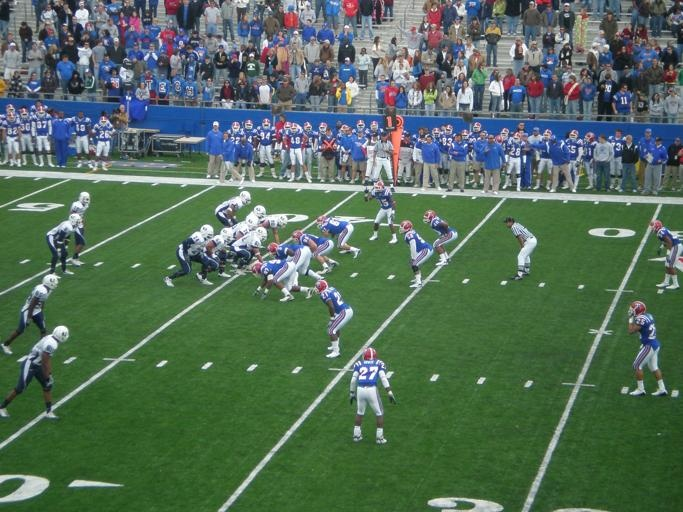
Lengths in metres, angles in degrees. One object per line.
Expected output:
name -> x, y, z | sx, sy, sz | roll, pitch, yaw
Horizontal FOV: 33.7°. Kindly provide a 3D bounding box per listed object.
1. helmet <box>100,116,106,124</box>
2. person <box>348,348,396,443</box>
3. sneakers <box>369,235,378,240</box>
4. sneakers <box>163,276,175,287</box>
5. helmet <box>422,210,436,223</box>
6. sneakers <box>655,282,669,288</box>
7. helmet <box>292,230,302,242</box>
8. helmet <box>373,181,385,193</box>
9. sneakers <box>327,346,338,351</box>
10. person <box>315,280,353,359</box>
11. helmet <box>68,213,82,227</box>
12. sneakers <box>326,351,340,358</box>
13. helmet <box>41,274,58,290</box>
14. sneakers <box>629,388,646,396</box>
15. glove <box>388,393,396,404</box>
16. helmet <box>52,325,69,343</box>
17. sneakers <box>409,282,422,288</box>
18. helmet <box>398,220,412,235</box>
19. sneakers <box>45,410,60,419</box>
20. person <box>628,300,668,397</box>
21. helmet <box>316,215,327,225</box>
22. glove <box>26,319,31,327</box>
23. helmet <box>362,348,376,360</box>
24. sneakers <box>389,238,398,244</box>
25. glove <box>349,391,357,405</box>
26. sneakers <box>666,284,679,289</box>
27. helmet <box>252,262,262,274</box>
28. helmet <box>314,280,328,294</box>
helmet -> -7.983, -4.548, 37.626 | 0.186, 0.238, 0.253 | -1, -2, -23
person -> 0.552, 2.497, 20.620 | 0.745, 1.681, 0.849 | -1, 12, -6
sneakers -> 0.904, -0.481, 30.825 | 0.235, 0.106, 0.084 | 0, 40, 3
sneakers -> -4.150, 0.612, 27.068 | 0.223, 0.240, 0.330 | -1, 12, -10
helmet -> 2.226, -0.936, 28.418 | 0.387, 0.394, 0.348 | 2, 15, 13
sneakers -> 7.768, 0.700, 27.084 | 0.291, 0.135, 0.111 | 2, 8, 9
helmet -> -1.071, -0.514, 26.947 | 0.190, 0.213, 0.224 | -32, 54, -33
helmet -> 1.048, -1.865, 30.257 | 0.288, 0.277, 0.239 | 5, -1, -11
sneakers -> -0.159, 1.941, 23.422 | 0.235, 0.108, 0.083 | 4, -27, 20
person -> -0.146, 1.251, 23.525 | 0.715, 1.593, 0.971 | 0, 12, -2
helmet -> -6.493, -0.871, 27.334 | 0.300, 0.248, 0.228 | 4, 9, 41
sneakers -> -0.148, 2.055, 23.345 | 0.299, 0.132, 0.114 | -10, 42, 21
helmet -> -6.202, 0.563, 23.912 | 0.357, 0.311, 0.280 | -3, 18, -12
sneakers -> 5.810, 2.662, 21.986 | 0.306, 0.147, 0.118 | 3, 5, 4
glove -> 0.938, 2.621, 20.564 | 0.099, 0.142, 0.344 | -5, -28, 9
helmet -> -5.293, 1.469, 21.125 | 0.281, 0.366, 0.605 | -1, 12, -9
sneakers -> 1.825, 0.700, 27.207 | 0.322, 0.147, 0.105 | 1, 13, 10
helmet -> 1.596, -0.678, 27.638 | 0.326, 0.333, 0.272 | 12, 15, 6
sneakers -> -5.401, 2.967, 21.080 | 0.269, 0.129, 0.113 | 4, 11, 24
person -> 6.171, 1.733, 22.473 | 0.807, 1.746, 1.603 | 4, 12, 14
helmet -> -0.500, -0.835, 28.472 | 0.206, 0.271, 0.208 | 34, 18, -18
glove -> -6.455, 1.356, 23.112 | 0.103, 0.081, 0.034 | -35, -12, 8
helmet -> 0.525, 1.796, 20.484 | 0.190, 0.228, 0.237 | 1, 21, -9
sneakers -> 1.445, -0.418, 30.599 | 0.219, 0.132, 0.258 | 1, 12, 2
glove -> 0.222, 2.624, 20.797 | 0.123, 0.142, 0.428 | -43, -7, -6
sneakers -> 7.981, 0.741, 26.944 | 0.270, 0.118, 0.103 | 0, 11, 9
helmet -> -1.950, 0.285, 26.221 | 0.232, 0.262, 0.194 | 16, 17, -9
helmet -> -0.422, 0.604, 23.234 | 0.250, 0.221, 0.261 | 7, -29, 15
